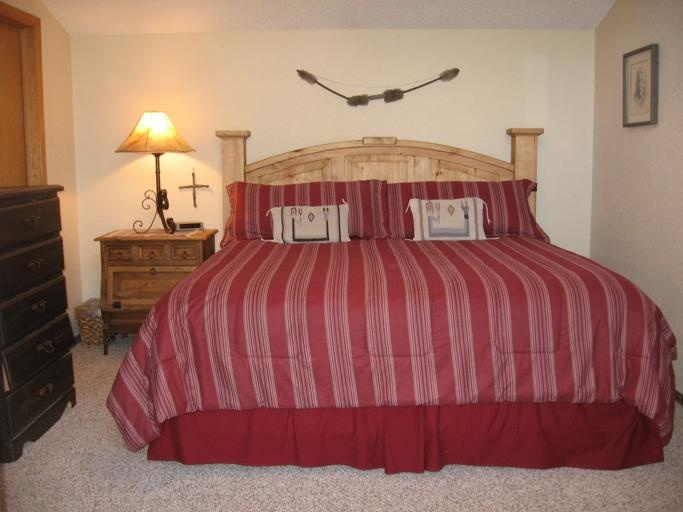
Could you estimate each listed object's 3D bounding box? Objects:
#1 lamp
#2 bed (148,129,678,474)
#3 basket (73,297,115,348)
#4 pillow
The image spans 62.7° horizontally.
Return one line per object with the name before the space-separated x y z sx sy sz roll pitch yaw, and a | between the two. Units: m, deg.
lamp | -1.335 -0.611 4.075 0.504 0.859 0.478 -5 12 -19
bed | 0.407 0.229 2.943 1.869 1.129 1.850 -1 3 -1
basket | -1.756 0.464 3.993 0.303 0.409 0.301 -4 5 -17
pillow | 0.278 -0.299 3.784 2.170 0.405 0.344 -1 11 -2
